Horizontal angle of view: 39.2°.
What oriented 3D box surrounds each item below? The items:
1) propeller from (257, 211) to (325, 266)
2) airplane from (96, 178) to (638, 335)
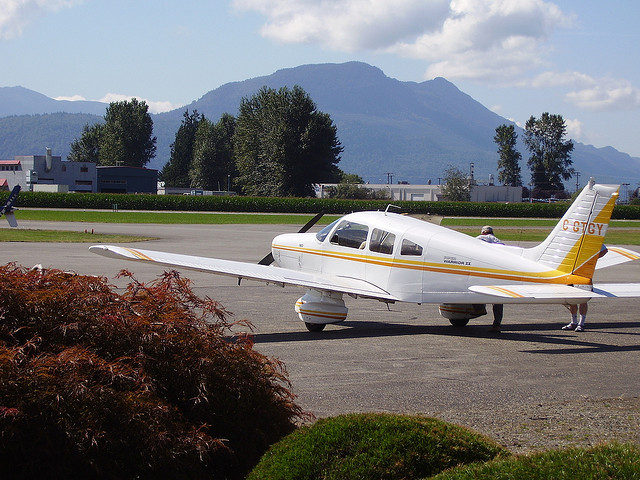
[{"bbox_3d":[-1.149,-0.165,31.870,3.913,0.519,0.077,-41,7,-17],"label":"propeller"},{"bbox_3d":[2.107,0.237,17.357,7.486,3.072,5.244,4,3,10],"label":"airplane"}]
